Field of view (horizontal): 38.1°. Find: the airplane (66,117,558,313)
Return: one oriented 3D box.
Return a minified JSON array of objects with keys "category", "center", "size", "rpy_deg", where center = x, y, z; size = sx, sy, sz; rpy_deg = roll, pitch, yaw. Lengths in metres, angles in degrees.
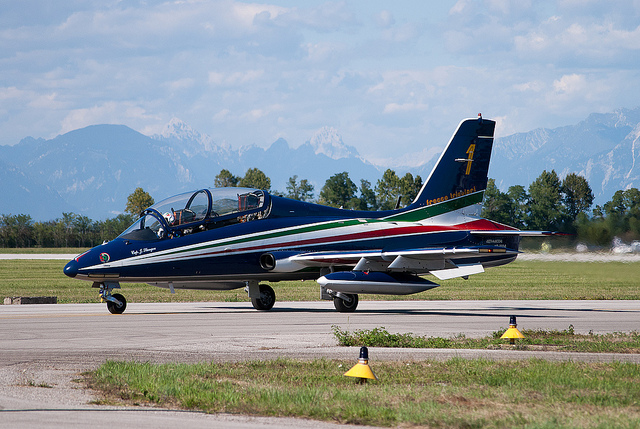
[{"category":"airplane","center":[0.140,1.194,51.660],"size":[32.655,7.437,5.169],"rpy_deg":[0,-2,2]}]
